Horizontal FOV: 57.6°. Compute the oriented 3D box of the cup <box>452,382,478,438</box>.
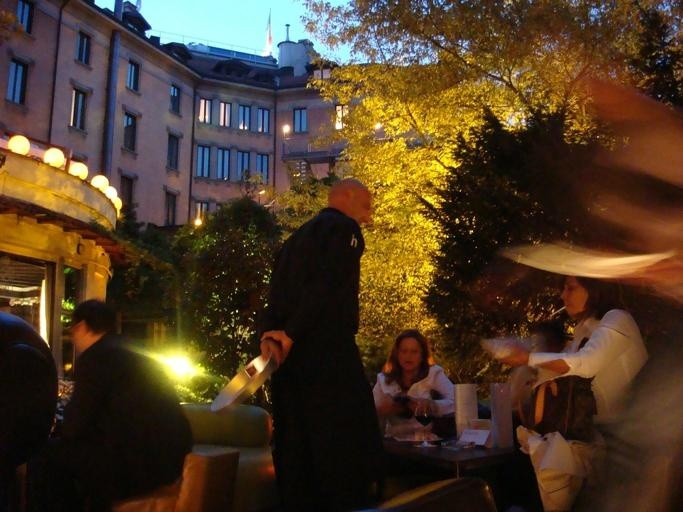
[{"bbox_3d":[0.792,0.978,3.924,0.136,0.318,0.150,0,-10,0],"label":"cup"}]

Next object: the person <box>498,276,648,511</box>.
[{"bbox_3d":[1.302,0.737,3.498,0.825,1.300,0.418,4,-11,-18],"label":"person"}]

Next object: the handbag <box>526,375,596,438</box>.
[{"bbox_3d":[1.240,0.849,3.459,0.150,0.261,0.259,33,-31,-25],"label":"handbag"}]
